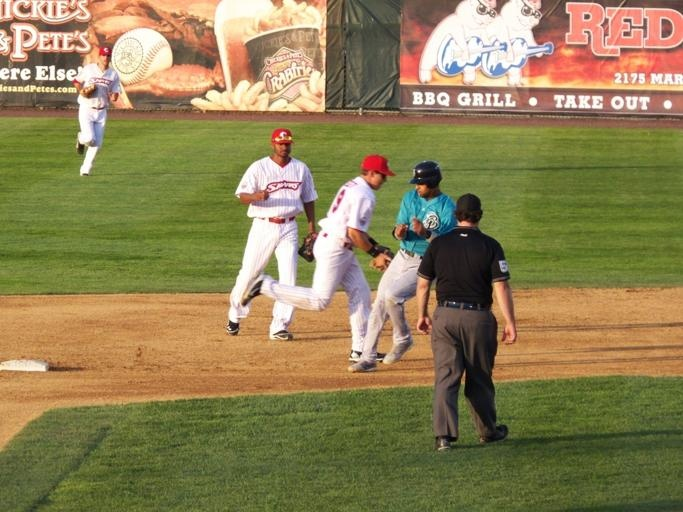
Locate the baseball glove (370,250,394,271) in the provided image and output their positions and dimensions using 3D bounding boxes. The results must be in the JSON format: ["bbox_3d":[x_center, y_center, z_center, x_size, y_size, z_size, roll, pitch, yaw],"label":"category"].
[{"bbox_3d":[0.758,0.108,31.048,0.371,0.369,0.266,0,8,-1],"label":"baseball glove"}]

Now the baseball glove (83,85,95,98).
[{"bbox_3d":[-5.884,-3.799,39.836,0.227,0.108,0.268,-16,-16,-47],"label":"baseball glove"}]

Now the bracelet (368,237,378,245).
[{"bbox_3d":[0.625,-0.251,32.396,0.042,0.145,0.145,-37,12,24],"label":"bracelet"}]

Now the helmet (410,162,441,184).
[{"bbox_3d":[1.550,-1.491,30.896,0.523,0.244,0.370,-4,17,-9],"label":"helmet"}]
